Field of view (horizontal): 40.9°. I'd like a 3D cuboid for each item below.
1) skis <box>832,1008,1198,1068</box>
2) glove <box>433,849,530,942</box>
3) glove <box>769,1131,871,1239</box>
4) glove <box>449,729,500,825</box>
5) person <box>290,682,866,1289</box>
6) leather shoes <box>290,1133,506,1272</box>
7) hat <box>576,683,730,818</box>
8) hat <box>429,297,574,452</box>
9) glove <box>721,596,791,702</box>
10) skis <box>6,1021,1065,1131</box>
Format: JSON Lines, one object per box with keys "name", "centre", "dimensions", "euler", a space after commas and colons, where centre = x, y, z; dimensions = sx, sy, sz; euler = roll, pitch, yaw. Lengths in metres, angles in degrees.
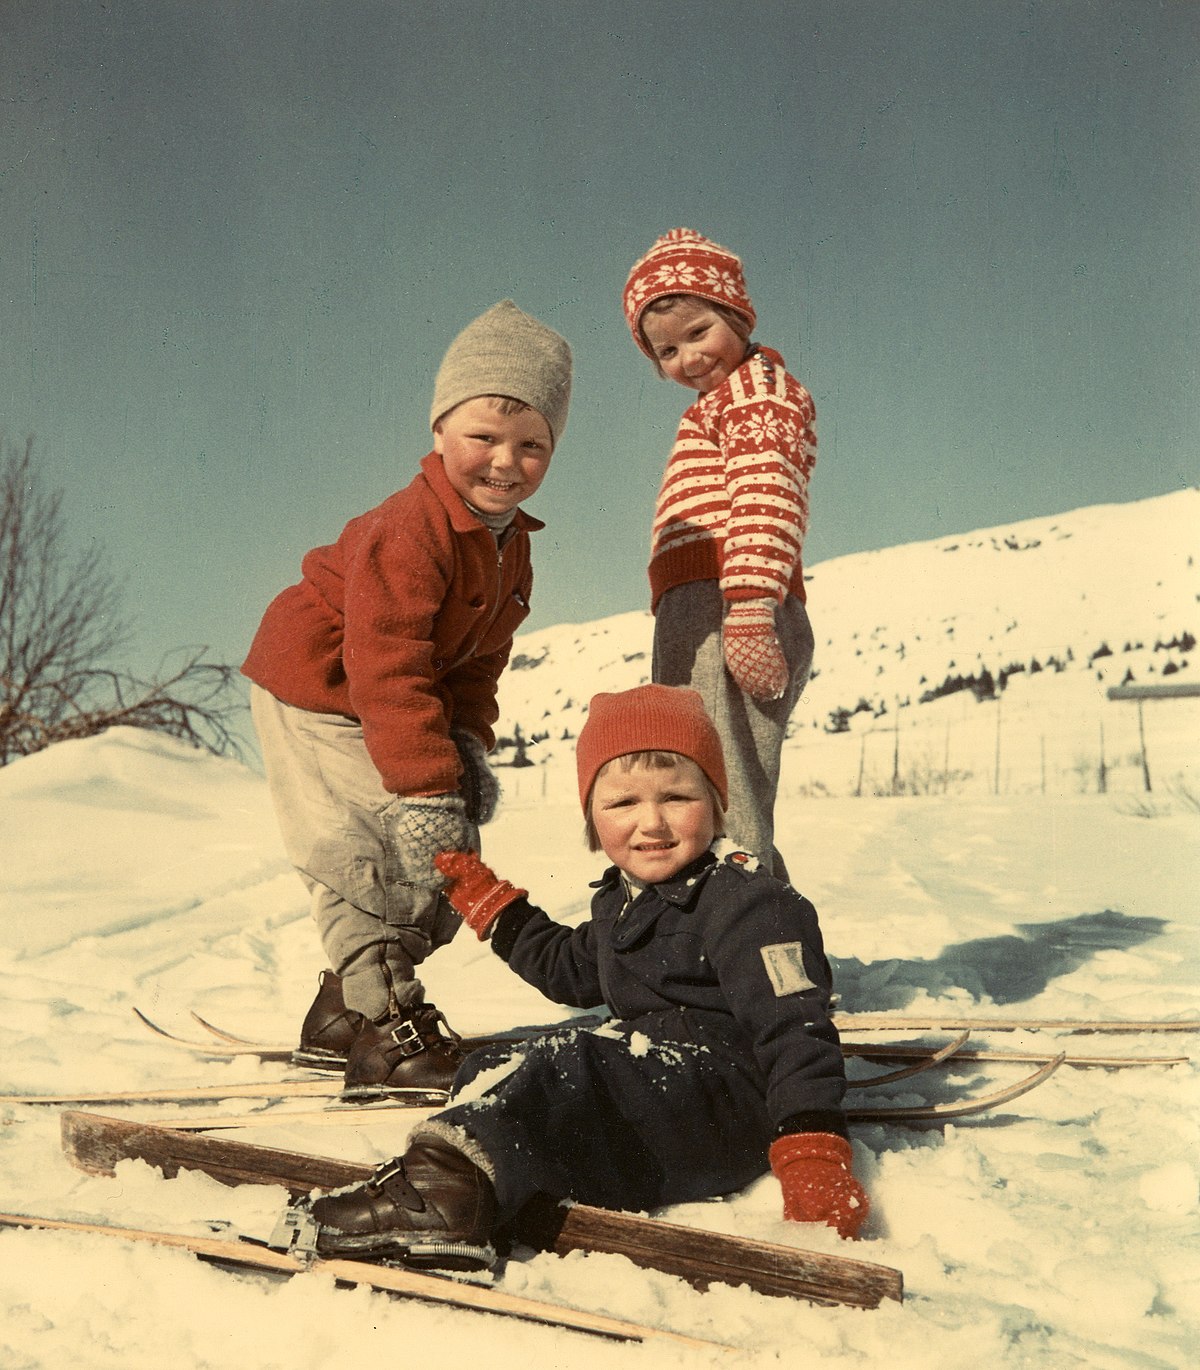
{"name": "skis", "centre": [0.847, 0.708, 3.230], "dimensions": [0.650, 0.045, 0.168], "euler": [-5, 13, 15]}
{"name": "glove", "centre": [-0.232, 0.381, 3.028], "dimensions": [0.171, 0.069, 0.153], "euler": [31, -33, 5]}
{"name": "glove", "centre": [0.322, 0.736, 2.338], "dimensions": [0.127, 0.085, 0.180], "euler": [-6, 27, 0]}
{"name": "glove", "centre": [-0.261, 0.196, 3.393], "dimensions": [0.144, 0.170, 0.065], "euler": [-7, 5, -18]}
{"name": "person", "centre": [-0.052, 0.470, 2.676], "dimensions": [0.833, 0.999, 0.668], "euler": [8, -27, -14]}
{"name": "leather shoes", "centre": [-0.296, 0.712, 2.312], "dimensions": [0.307, 0.196, 0.131], "euler": [0, -7, 11]}
{"name": "hat", "centre": [0.093, 0.100, 2.863], "dimensions": [0.263, 0.199, 0.254], "euler": [3, -11, -13]}
{"name": "hat", "centre": [-0.207, -0.641, 3.324], "dimensions": [0.329, 0.286, 0.281], "euler": [-4, 14, -17]}
{"name": "glove", "centre": [0.330, -0.057, 3.235], "dimensions": [0.117, 0.170, 0.287], "euler": [-17, 4, 10]}
{"name": "skis", "centre": [-0.060, 0.686, 2.823], "dimensions": [1.621, 0.106, 0.225], "euler": [-2, -3, 2]}
